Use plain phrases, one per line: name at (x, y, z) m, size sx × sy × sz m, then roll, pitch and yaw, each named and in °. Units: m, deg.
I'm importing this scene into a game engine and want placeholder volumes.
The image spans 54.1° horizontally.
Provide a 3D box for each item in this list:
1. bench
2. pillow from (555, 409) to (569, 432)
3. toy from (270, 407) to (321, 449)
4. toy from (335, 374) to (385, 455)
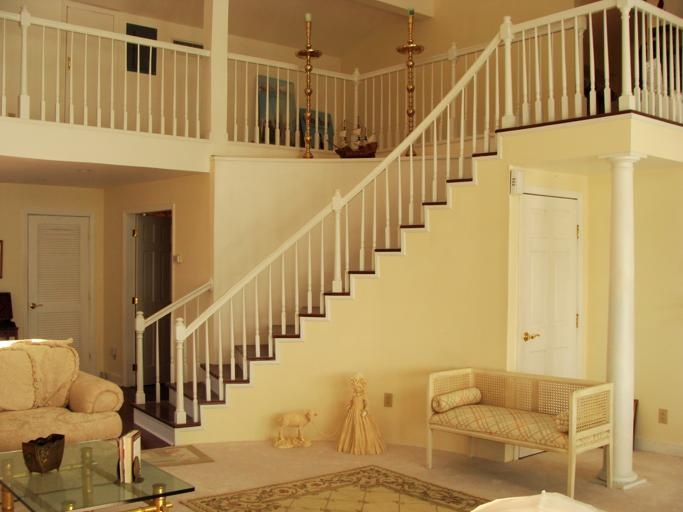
bench at (1.666, 1.670, 6.403) m, size 0.708 × 1.001 × 1.693 m, roll 0°, pitch -3°, yaw -38°
pillow at (1.965, 1.472, 5.976) m, size 0.153 × 0.155 × 0.159 m, roll -2°, pitch 3°, yaw -4°
toy at (-0.508, 1.856, 7.332) m, size 0.488 × 0.358 × 0.331 m, roll 4°, pitch 1°, yaw -25°
toy at (0.225, 1.705, 7.241) m, size 0.705 × 0.910 × 0.555 m, roll -3°, pitch -6°, yaw 44°
